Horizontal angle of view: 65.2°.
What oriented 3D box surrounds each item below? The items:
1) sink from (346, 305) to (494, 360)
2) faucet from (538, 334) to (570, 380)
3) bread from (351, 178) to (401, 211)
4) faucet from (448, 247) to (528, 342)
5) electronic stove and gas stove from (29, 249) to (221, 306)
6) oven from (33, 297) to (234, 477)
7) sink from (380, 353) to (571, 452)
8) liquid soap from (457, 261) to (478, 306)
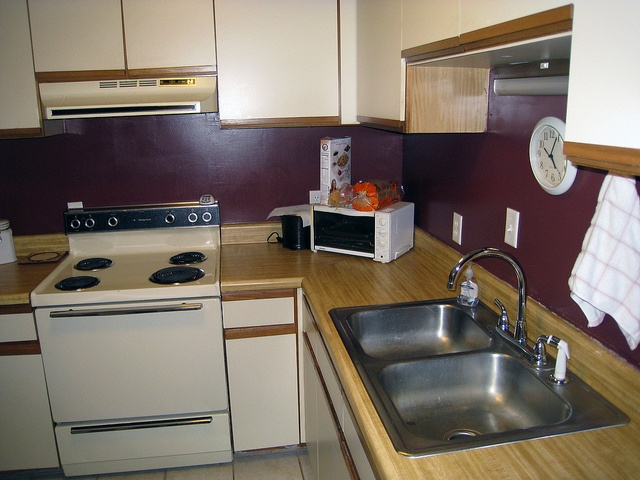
[{"bbox_3d":[0.388,0.401,2.103,0.345,0.133,0.281,-3,17,-14],"label":"sink"},{"bbox_3d":[0.762,0.365,1.636,0.097,0.160,0.140,6,21,24],"label":"faucet"},{"bbox_3d":[0.314,-0.251,2.739,0.253,0.140,0.100,-5,34,-46],"label":"bread"},{"bbox_3d":[0.621,0.209,1.842,0.291,0.429,0.096,-1,35,13],"label":"faucet"},{"bbox_3d":[-0.995,0.184,2.736,0.946,0.089,0.571,-4,19,-4],"label":"electronic stove and gas stove"},{"bbox_3d":[-0.848,0.603,2.970,1.020,1.227,0.861,-2,8,-10],"label":"oven"},{"bbox_3d":[0.498,0.552,1.738,0.344,0.152,0.352,-4,10,-10],"label":"sink"},{"bbox_3d":[0.625,0.188,2.141,0.086,0.051,0.214,9,64,7],"label":"liquid soap"}]
